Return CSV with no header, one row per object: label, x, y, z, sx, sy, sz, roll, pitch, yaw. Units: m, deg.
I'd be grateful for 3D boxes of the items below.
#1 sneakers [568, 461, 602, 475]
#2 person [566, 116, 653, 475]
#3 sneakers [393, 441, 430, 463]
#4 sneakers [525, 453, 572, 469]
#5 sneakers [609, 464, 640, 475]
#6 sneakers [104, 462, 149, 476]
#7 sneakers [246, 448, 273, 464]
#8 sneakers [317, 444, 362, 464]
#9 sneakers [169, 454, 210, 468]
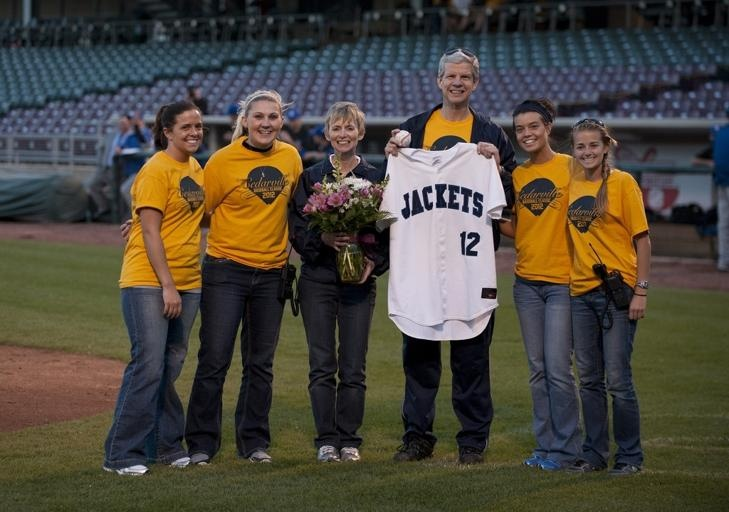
sneakers,2.539,2.439,14.379,0.428,0.153,0.138,5,-4,-1
person,2.825,0.457,14.461,0.888,4.074,0.654,-1,-10,8
sneakers,0.589,2.283,14.596,0.519,0.209,0.178,1,0,-5
sneakers,2.100,2.388,14.475,0.374,0.141,0.196,1,6,5
sneakers,2.993,2.444,14.361,0.317,0.113,0.130,4,-2,2
sneakers,-2.662,2.428,14.220,0.504,0.196,0.163,5,-9,2
sneakers,-1.207,2.328,14.531,0.247,0.101,0.135,1,10,11
sneakers,-0.286,2.330,14.583,0.404,0.148,0.213,-3,45,0
sneakers,-2.009,2.358,14.443,0.440,0.170,0.155,4,-8,-7
